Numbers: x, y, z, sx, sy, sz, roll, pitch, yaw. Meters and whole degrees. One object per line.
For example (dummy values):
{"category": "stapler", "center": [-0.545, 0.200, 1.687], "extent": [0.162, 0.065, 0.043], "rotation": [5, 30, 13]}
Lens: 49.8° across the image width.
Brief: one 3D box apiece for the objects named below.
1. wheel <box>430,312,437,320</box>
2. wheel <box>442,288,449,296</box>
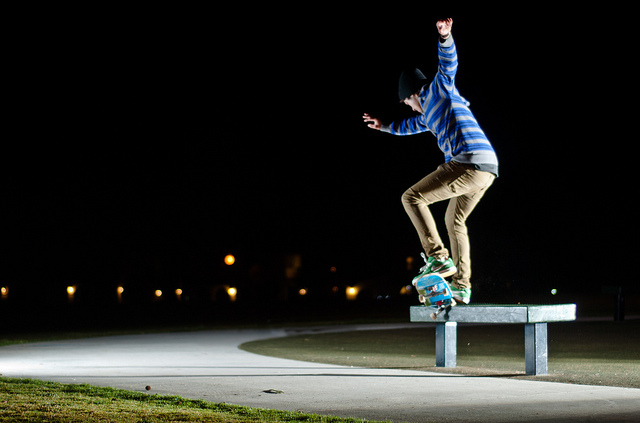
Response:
{"category": "wheel", "center": [1.709, 1.567, 10.388], "extent": [0.061, 0.146, 0.205], "rotation": [-26, -2, 3]}
{"category": "wheel", "center": [1.832, 1.173, 10.015], "extent": [0.086, 0.166, 0.087], "rotation": [-1, -2, 0]}
